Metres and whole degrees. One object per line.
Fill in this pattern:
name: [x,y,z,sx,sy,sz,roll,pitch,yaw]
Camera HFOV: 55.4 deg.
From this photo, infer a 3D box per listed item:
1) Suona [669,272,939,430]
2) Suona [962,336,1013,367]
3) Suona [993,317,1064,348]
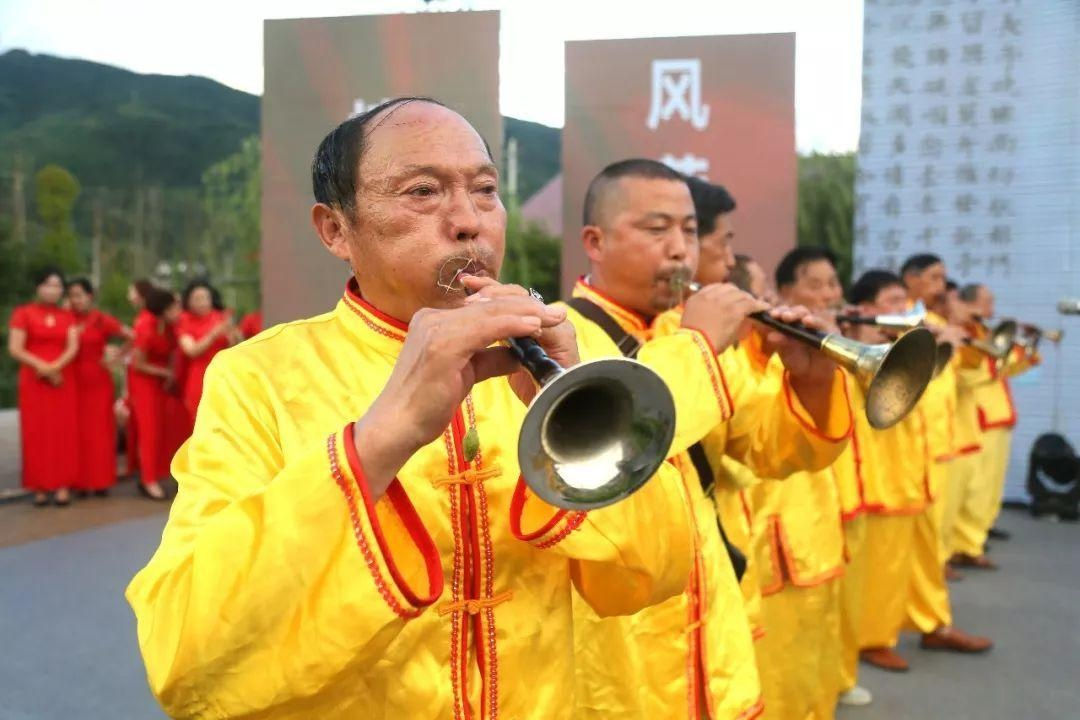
Suona: [1.217,-0.088,4.525,0.327,0.341,0.907,-50,41,-13]
Suona: [2.945,-0.066,6.773,0.227,0.131,0.123,10,-42,-41]
Suona: [2.941,-0.174,6.366,0.227,0.186,0.535,-5,9,-15]
